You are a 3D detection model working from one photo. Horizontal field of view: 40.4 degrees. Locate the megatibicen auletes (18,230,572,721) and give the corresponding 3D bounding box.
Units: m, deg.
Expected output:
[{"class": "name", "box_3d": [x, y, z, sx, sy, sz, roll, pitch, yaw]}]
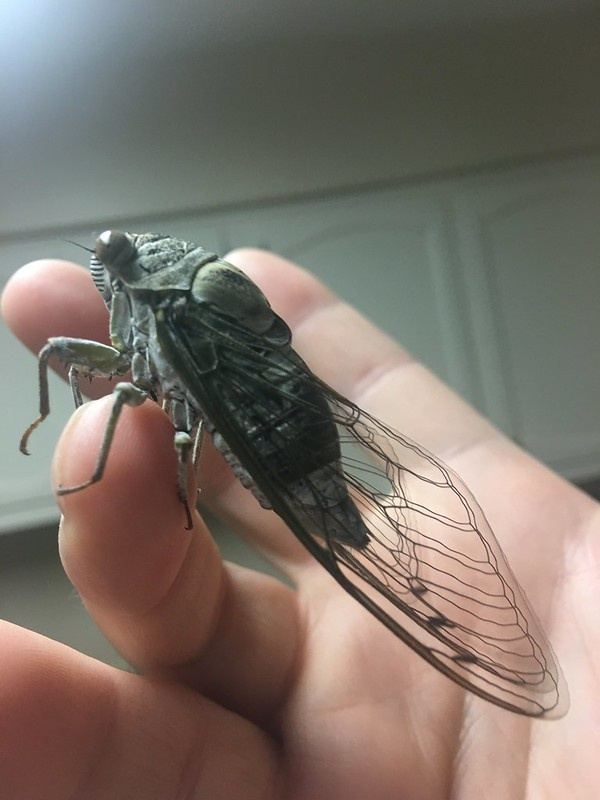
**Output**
[{"class": "megatibicen auletes", "box_3d": [-0.005, 0.053, 1.128, 0.940, 0.334, 0.429, 30, 33, 17]}]
